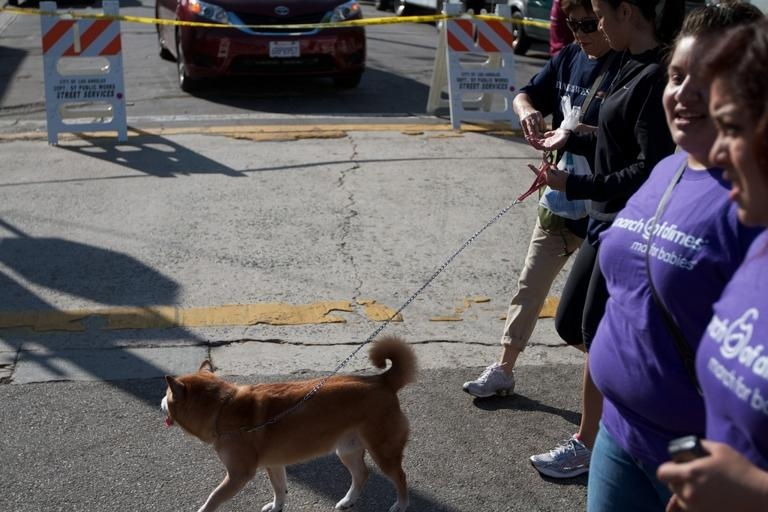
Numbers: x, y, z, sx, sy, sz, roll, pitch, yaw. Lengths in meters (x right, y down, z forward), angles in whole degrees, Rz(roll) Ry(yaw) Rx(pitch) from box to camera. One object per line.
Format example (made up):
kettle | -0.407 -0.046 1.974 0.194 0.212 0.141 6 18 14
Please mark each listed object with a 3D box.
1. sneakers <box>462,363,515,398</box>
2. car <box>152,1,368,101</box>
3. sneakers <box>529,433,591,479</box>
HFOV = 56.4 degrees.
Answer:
sneakers | 0.678 0.806 4.657 0.454 0.212 0.151 -1 8 -17
car | -1.804 -3.249 11.037 3.016 1.470 1.677 0 28 -7
sneakers | 0.933 1.140 4.067 0.446 0.175 0.143 -2 32 2
